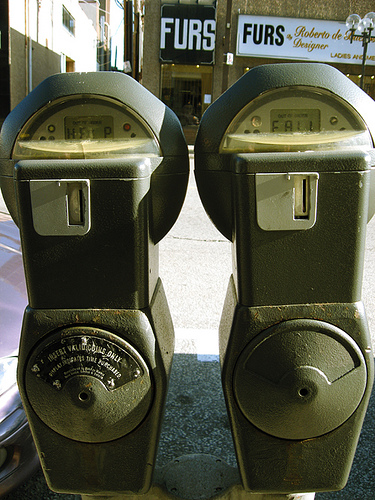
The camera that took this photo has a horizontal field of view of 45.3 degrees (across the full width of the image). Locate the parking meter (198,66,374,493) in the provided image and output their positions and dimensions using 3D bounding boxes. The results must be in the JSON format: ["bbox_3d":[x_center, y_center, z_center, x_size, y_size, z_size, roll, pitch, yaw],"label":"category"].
[{"bbox_3d":[0.266,0.056,1.075,0.408,0.951,0.421,-2,19,-11],"label":"parking meter"}]
